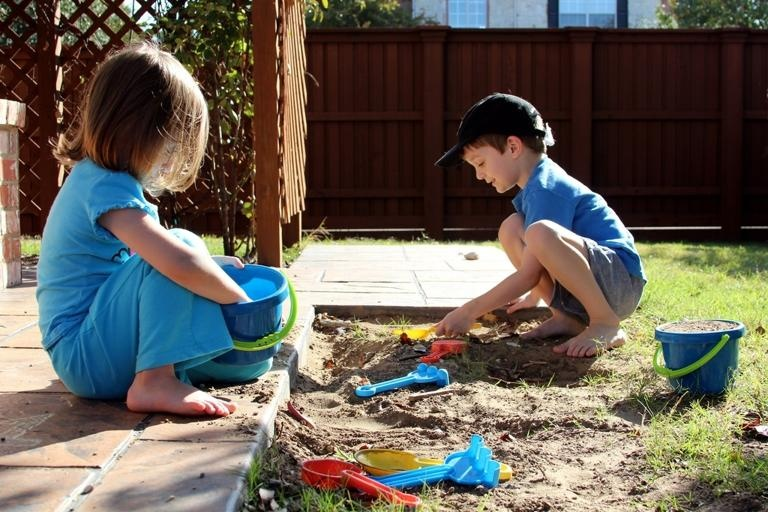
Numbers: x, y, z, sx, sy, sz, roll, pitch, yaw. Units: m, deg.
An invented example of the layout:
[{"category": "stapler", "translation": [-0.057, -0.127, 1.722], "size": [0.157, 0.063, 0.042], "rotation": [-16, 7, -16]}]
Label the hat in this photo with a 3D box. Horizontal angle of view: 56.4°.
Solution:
[{"category": "hat", "translation": [0.541, -0.581, 3.466], "size": [0.446, 0.252, 0.341], "rotation": [-1, -9, 3]}]

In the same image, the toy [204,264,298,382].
[{"category": "toy", "translation": [-0.467, 0.223, 2.761], "size": [0.394, 0.301, 0.415], "rotation": [13, 34, 17]}]

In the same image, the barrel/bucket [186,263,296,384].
[{"category": "barrel/bucket", "translation": [-0.515, 0.246, 2.795], "size": [0.416, 0.320, 0.439], "rotation": [4, 26, -2]}]

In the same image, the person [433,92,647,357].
[{"category": "person", "translation": [0.720, -0.182, 3.512], "size": [0.997, 1.205, 1.205], "rotation": [-3, 2, 2]}]

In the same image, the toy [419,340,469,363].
[{"category": "toy", "translation": [0.275, 0.418, 3.210], "size": [0.166, 0.048, 0.263], "rotation": [6, 14, 15]}]

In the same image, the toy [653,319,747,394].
[{"category": "toy", "translation": [1.223, 0.374, 2.771], "size": [0.275, 0.222, 0.302], "rotation": [-2, 3, -7]}]

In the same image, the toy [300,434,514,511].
[{"category": "toy", "translation": [0.070, 0.698, 2.296], "size": [0.584, 0.114, 0.249], "rotation": [-3, 21, -9]}]

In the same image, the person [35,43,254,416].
[{"category": "person", "translation": [-0.897, -0.119, 2.597], "size": [0.811, 1.252, 0.462], "rotation": [3, 13, 7]}]

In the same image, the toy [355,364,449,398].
[{"category": "toy", "translation": [0.067, 0.452, 2.903], "size": [0.284, 0.081, 0.158], "rotation": [-12, 15, -29]}]
